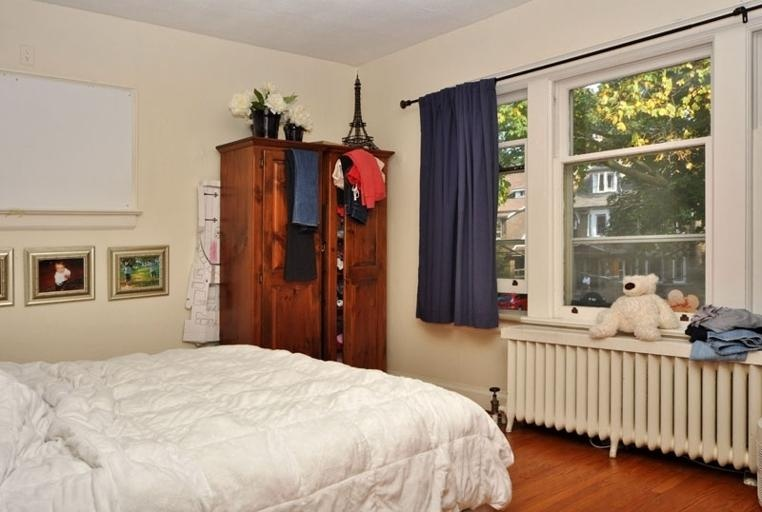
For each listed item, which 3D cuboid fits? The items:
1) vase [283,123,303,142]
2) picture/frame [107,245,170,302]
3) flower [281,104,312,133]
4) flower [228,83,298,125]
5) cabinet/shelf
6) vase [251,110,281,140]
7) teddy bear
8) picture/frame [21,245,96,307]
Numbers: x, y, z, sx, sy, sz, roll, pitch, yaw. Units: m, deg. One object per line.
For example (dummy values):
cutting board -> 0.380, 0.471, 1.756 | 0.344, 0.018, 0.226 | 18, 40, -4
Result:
vase -> -0.746, -1.018, 4.766 | 0.164, 0.175, 0.160 | 0, 2, -9
picture/frame -> -1.998, 0.133, 4.581 | 0.490, 0.470, 0.033 | 0, 1, -32
flower -> -0.692, -1.160, 4.818 | 0.234, 0.190, 0.231 | -1, 14, -42
flower -> -0.945, -1.289, 4.749 | 0.345, 0.146, 0.403 | -29, 28, -33
cabinet/shelf -> -0.666, 0.060, 4.855 | 1.442, 2.093, 0.581 | -5, 10, -22
vase -> -0.951, -1.079, 4.764 | 0.253, 0.233, 0.225 | 2, -1, -32
teddy bear -> 1.692, 0.346, 3.803 | 0.459, 0.402, 0.562 | -7, 2, -40
picture/frame -> -2.491, 0.148, 4.306 | 0.488, 0.466, 0.035 | -1, 2, -30
